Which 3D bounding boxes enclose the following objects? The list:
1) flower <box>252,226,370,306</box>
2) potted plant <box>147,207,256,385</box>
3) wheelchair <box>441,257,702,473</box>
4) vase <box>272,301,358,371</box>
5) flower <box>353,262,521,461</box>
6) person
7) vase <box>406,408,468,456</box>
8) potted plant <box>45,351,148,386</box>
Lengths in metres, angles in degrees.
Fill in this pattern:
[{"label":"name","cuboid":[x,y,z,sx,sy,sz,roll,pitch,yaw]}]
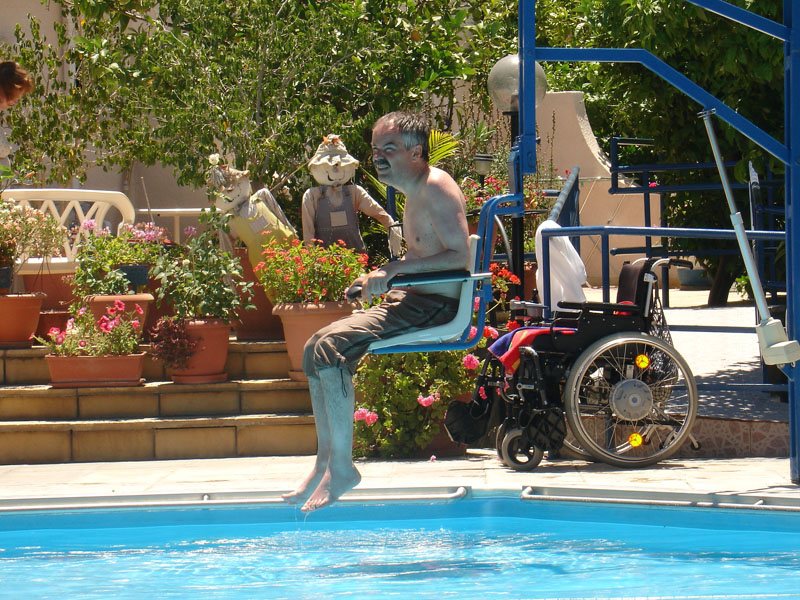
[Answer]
[{"label":"flower","cuboid":[-0.787,-0.280,10.526,0.716,0.645,0.589,-5,9,-31]},{"label":"potted plant","cuboid":[-1.713,0.007,10.740,0.703,1.559,0.671,-2,8,-6]},{"label":"wheelchair","cuboid":[1.288,0.376,9.559,1.664,1.615,1.112,1,7,-7]},{"label":"vase","cuboid":[-0.704,0.322,10.420,0.535,0.479,0.570,0,-3,-1]},{"label":"flower","cuboid":[0.267,0.487,9.579,0.838,1.493,0.962,-2,9,-30]},{"label":"person","cuboid":[-0.153,-0.020,7.983,0.894,2.507,1.071,4,9,-14]},{"label":"vase","cuboid":[0.282,1.000,9.919,0.445,0.371,0.470,1,1,1]},{"label":"potted plant","cuboid":[-2.480,0.552,10.394,0.761,0.263,0.151,-1,13,0]}]
